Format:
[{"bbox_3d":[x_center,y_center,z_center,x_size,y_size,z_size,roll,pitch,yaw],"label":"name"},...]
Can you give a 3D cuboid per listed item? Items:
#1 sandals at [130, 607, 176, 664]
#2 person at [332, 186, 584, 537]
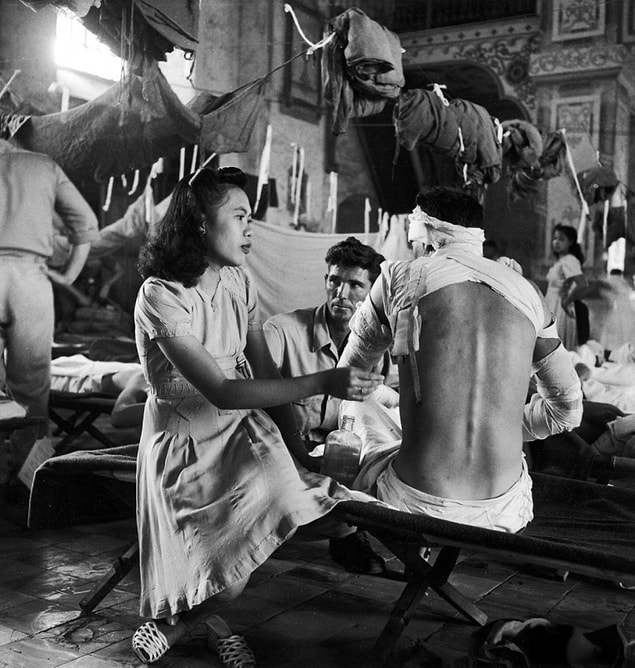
[{"bbox_3d":[-0.558,1.047,3.694,0.100,0.080,0.181,26,2,-3],"label":"sandals"},{"bbox_3d":[0.478,0.077,3.635,0.819,1.108,0.599,2,13,13],"label":"person"}]
